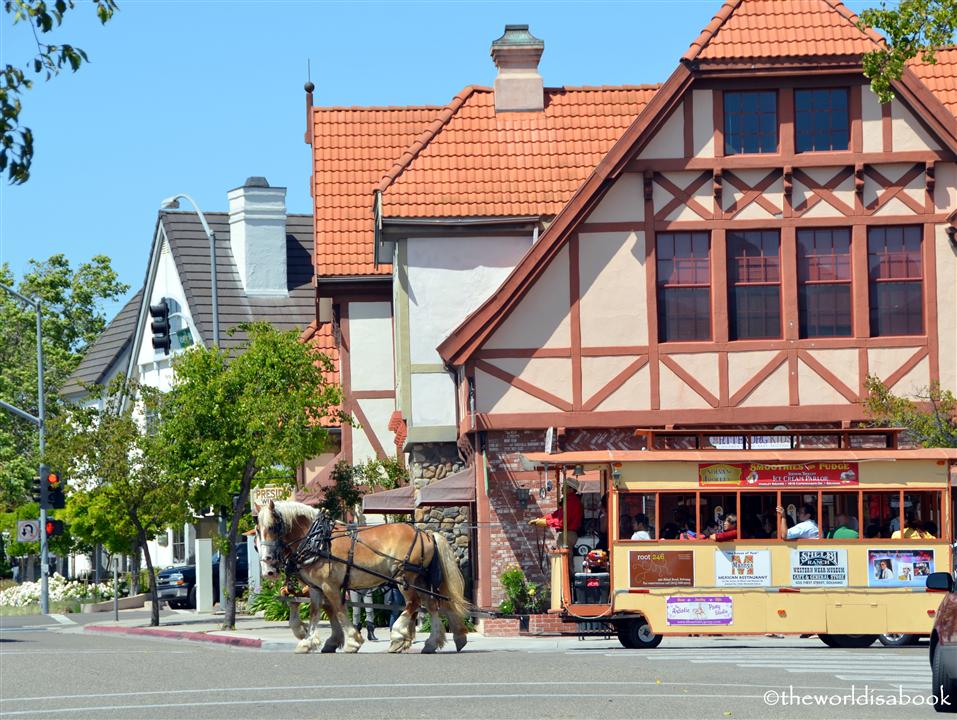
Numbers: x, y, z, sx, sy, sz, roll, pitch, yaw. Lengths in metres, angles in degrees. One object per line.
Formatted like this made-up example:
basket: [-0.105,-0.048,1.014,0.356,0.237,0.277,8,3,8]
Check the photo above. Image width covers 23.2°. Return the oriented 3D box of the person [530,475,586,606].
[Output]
person: [1.596,3.696,46.822,0.834,2.567,1.011,-1,-3,-2]
